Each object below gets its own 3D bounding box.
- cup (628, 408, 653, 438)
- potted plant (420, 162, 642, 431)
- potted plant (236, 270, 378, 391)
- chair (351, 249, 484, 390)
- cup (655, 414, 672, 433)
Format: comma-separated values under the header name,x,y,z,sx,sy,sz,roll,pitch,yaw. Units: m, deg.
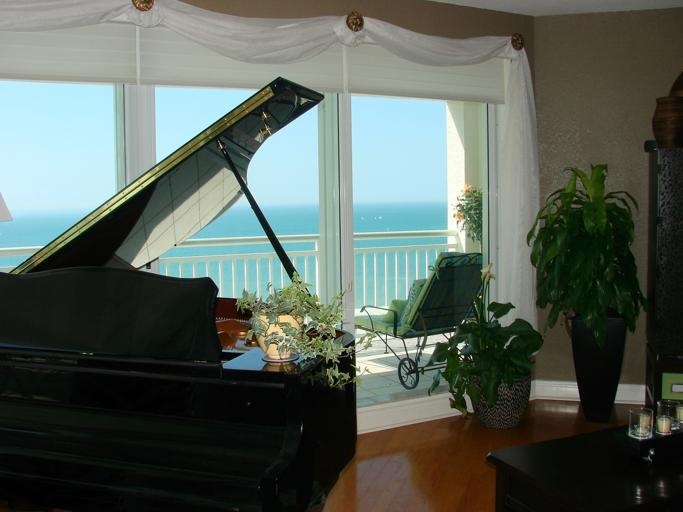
name,x,y,z,sx,sy,sz,roll,pitch,yaw
cup,1.454,0.807,2.801,0.118,0.148,0.124,1,-3,0
potted plant,1.483,0.297,4.168,1.304,1.877,0.734,-1,3,7
potted plant,-0.180,0.335,2.769,0.647,0.389,0.478,10,9,11
chair,0.523,0.468,4.943,0.753,1.112,1.184,-2,3,-34
cup,1.533,0.797,2.712,0.064,0.081,0.076,0,-4,1
